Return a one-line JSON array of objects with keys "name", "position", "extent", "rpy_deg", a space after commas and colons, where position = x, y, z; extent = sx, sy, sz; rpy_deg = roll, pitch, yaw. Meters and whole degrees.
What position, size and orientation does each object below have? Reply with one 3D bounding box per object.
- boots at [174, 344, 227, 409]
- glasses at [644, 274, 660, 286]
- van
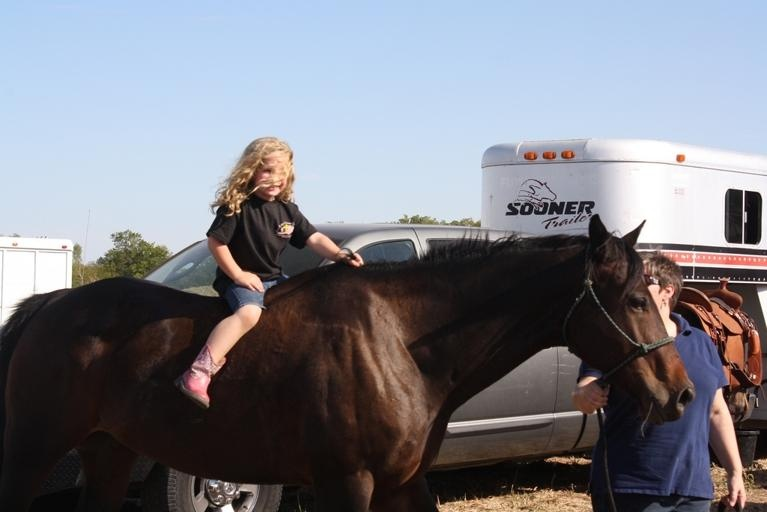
[{"name": "boots", "position": [-1.026, 0.683, 3.796], "extent": [0.293, 0.295, 0.134], "rpy_deg": [21, -23, 47]}, {"name": "glasses", "position": [1.629, 0.150, 4.066], "extent": [0.071, 0.038, 0.093], "rpy_deg": [18, -14, -12]}, {"name": "van", "position": [0.239, 1.022, 6.440], "extent": [2.123, 1.842, 4.489], "rpy_deg": [-7, -13, 43]}]
